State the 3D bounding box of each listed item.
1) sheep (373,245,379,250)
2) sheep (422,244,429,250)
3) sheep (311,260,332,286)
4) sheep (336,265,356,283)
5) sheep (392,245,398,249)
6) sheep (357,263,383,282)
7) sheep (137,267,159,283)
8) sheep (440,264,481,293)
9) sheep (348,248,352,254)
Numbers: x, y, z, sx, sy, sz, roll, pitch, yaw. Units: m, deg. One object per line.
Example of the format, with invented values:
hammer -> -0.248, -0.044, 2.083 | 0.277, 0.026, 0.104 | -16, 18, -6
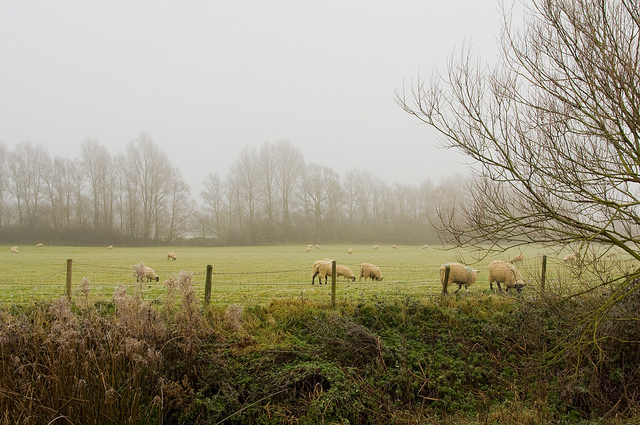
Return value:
sheep -> 6.964, 4.337, 83.341 | 0.251, 0.584, 1.002 | 0, -8, -11
sheep -> 13.549, 4.485, 86.379 | 0.369, 0.855, 1.511 | -1, 2, -6
sheep -> 0.066, 3.095, 34.636 | 0.983, 1.262, 1.394 | -1, -6, -4
sheep -> 1.371, 3.260, 35.618 | 0.880, 0.963, 2.084 | -2, -6, 1
sheep -> 9.491, 4.309, 84.649 | 0.670, 0.220, 0.414 | 4, -30, 4
sheep -> 2.764, 3.221, 36.062 | 1.062, 0.937, 0.676 | 0, -6, -16
sheep -> -8.980, 3.327, 35.686 | 0.599, 0.765, 2.764 | -1, -6, -9
sheep -> 6.359, 3.062, 30.513 | 2.032, 1.382, 0.776 | 11, -4, -27
sheep -> 3.000, 3.825, 66.391 | 0.337, 0.645, 0.417 | -4, 11, -8
